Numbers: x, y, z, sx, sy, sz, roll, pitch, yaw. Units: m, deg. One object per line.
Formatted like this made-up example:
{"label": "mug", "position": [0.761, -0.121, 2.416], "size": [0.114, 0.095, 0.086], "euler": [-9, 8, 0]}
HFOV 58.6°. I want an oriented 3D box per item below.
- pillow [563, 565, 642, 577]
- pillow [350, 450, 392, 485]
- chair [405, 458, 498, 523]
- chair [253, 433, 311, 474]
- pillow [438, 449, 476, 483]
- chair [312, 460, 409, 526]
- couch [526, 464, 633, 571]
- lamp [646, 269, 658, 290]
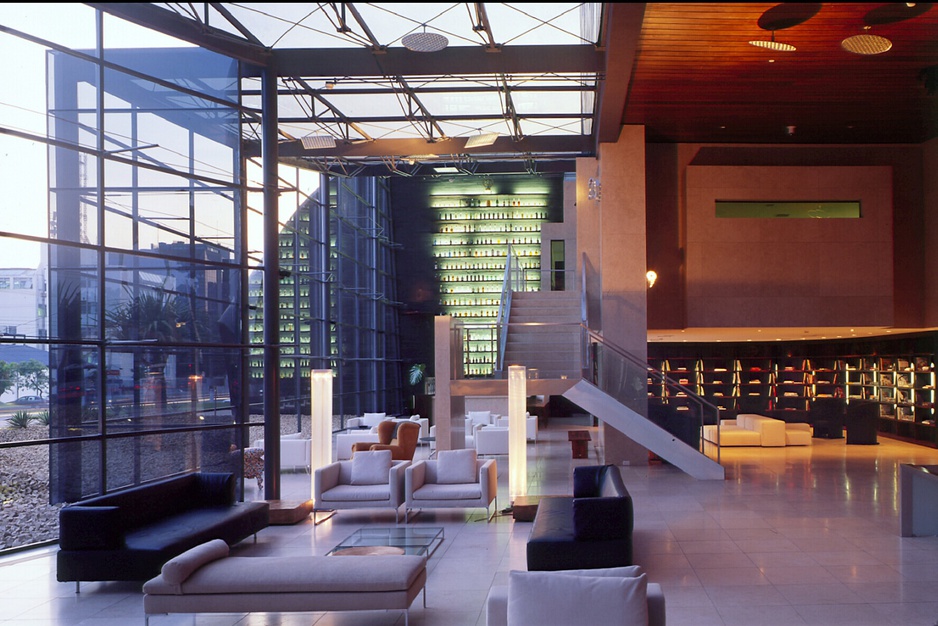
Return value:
{"label": "pillow", "position": [1.673, 3.075, 9.927], "size": [0.527, 0.109, 0.493], "euler": [-3, -7, 13]}
{"label": "pillow", "position": [-1.839, 2.963, 15.861], "size": [0.704, 0.553, 0.216], "euler": [1, -19, -1]}
{"label": "chair", "position": [-0.284, 3.216, 15.747], "size": [1.654, 1.003, 1.108], "euler": [-2, 1, 7]}
{"label": "chair", "position": [-4.217, 3.289, 19.843], "size": [1.398, 0.905, 0.911], "euler": [0, 1, 4]}
{"label": "pillow", "position": [-0.213, 2.942, 15.906], "size": [0.687, 0.491, 0.211], "euler": [0, -18, 1]}
{"label": "chair", "position": [-1.960, 3.213, 15.787], "size": [1.625, 0.978, 1.125], "euler": [-2, 0, 8]}
{"label": "couch", "position": [1.858, 3.311, 13.840], "size": [1.605, 1.032, 2.919], "euler": [-4, 0, 9]}
{"label": "lamp", "position": [4.582, -0.789, 20.944], "size": [0.429, 0.486, 0.193], "euler": [6, 4, -22]}
